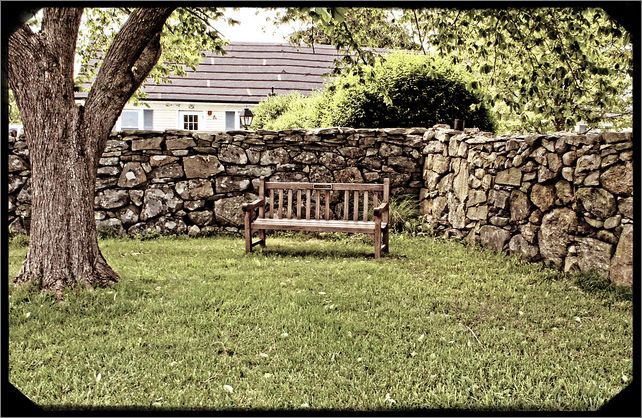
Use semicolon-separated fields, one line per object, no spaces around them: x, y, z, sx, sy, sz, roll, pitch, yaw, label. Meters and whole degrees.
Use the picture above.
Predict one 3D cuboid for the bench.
0.035;0.049;11.422;2.488;1.384;2.509;4;4;6;bench
